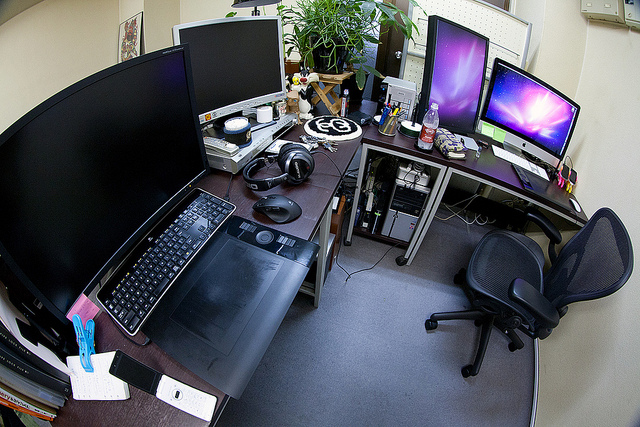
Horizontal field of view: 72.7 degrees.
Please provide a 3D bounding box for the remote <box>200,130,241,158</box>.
[{"bbox_3d":[-0.516,-0.349,2.222,0.165,0.054,0.096,21,54,4],"label":"remote"}]

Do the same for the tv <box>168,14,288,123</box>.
[{"bbox_3d":[-0.476,-0.743,2.231,0.620,0.466,0.060,-28,35,-32],"label":"tv"}]

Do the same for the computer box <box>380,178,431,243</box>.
[{"bbox_3d":[0.610,-0.088,3.082,0.262,0.523,0.315,10,48,2],"label":"computer box"}]

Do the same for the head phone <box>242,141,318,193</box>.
[{"bbox_3d":[-0.226,-0.239,2.271,0.369,0.179,0.313,-29,35,-23],"label":"head phone"}]

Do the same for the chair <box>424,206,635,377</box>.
[{"bbox_3d":[1.136,0.385,2.495,0.731,0.967,0.713,-1,43,4],"label":"chair"}]

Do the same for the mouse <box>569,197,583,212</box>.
[{"bbox_3d":[1.488,-0.046,2.557,0.062,0.023,0.091,-12,65,-27],"label":"mouse"}]

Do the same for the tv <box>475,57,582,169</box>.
[{"bbox_3d":[1.269,-0.589,2.719,0.686,0.489,0.198,17,13,-19],"label":"tv"}]

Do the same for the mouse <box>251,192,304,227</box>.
[{"bbox_3d":[-0.193,-0.023,2.069,0.181,0.062,0.129,17,46,6],"label":"mouse"}]

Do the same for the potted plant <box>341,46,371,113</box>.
[{"bbox_3d":[0.278,-0.888,3.096,0.211,0.229,0.239,-8,37,-9],"label":"potted plant"}]

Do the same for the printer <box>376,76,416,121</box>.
[{"bbox_3d":[0.519,-0.765,2.959,0.218,0.286,0.410,8,39,14],"label":"printer"}]

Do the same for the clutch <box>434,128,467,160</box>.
[{"bbox_3d":[0.776,-0.423,2.686,0.123,0.054,0.233,-6,37,-5],"label":"clutch"}]
